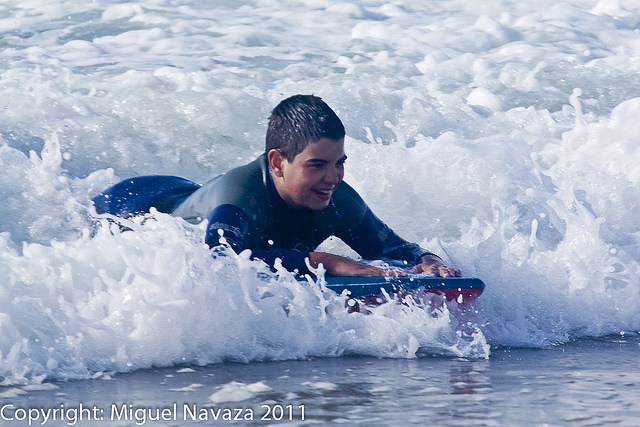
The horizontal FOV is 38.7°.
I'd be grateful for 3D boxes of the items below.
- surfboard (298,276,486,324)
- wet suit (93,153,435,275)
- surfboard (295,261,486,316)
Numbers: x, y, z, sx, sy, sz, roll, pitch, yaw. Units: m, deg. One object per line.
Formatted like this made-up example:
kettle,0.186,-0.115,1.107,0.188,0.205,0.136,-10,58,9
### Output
surfboard,0.380,0.601,6.504,1.964,0.248,0.354,0,-4,-1
wet suit,-0.560,-0.033,7.009,2.184,0.443,1.259,3,-2,16
surfboard,0.368,0.531,6.514,1.852,0.249,0.355,2,-24,-5
